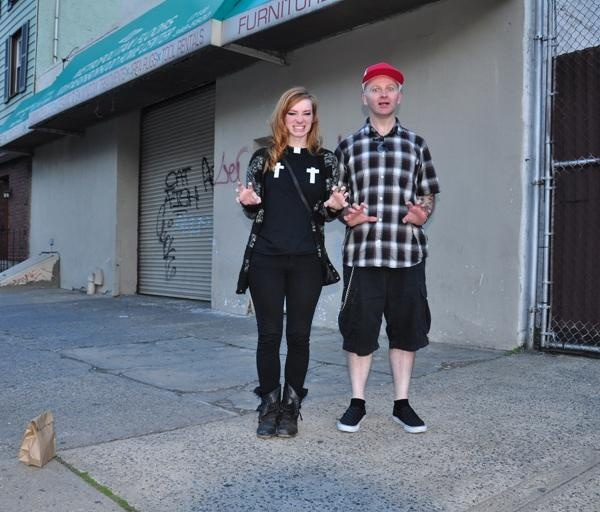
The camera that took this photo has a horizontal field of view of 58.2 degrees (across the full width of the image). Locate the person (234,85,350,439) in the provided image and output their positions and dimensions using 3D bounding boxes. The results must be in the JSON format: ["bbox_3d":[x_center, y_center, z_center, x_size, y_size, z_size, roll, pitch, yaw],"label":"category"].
[{"bbox_3d":[-0.063,0.022,3.206,0.601,2.047,0.264,0,1,-8],"label":"person"}]

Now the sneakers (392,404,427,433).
[{"bbox_3d":[0.663,0.981,3.282,0.086,0.103,0.242,-4,7,-23],"label":"sneakers"}]

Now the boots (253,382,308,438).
[{"bbox_3d":[-0.105,0.909,3.185,0.292,0.277,0.211,0,2,-1],"label":"boots"}]

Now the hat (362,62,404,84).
[{"bbox_3d":[0.513,-1.137,3.335,0.233,0.164,0.193,0,2,4],"label":"hat"}]

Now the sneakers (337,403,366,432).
[{"bbox_3d":[0.305,0.981,3.222,0.080,0.097,0.225,2,-4,26],"label":"sneakers"}]
